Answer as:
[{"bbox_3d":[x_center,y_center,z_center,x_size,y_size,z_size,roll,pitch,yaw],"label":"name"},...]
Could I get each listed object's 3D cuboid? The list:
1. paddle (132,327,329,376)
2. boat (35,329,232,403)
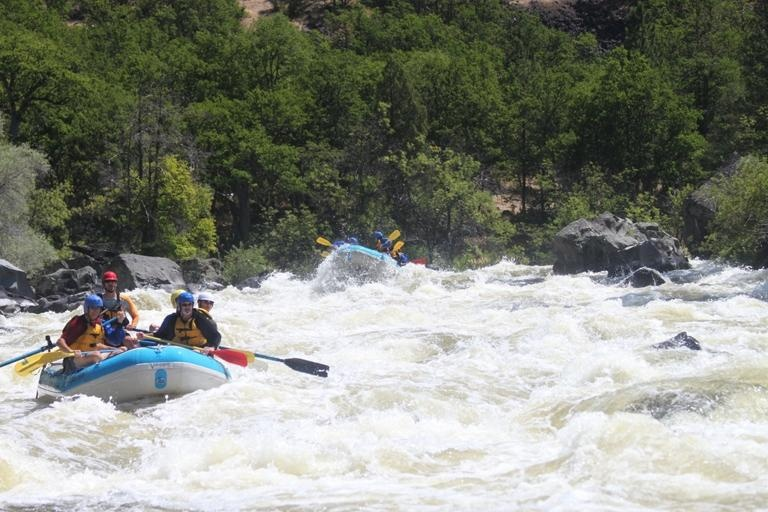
[{"bbox_3d":[-6.702,4.199,55.496,8.416,0.963,0.554,11,5,2],"label":"paddle"},{"bbox_3d":[-10.186,5.305,53.690,5.595,2.669,7.006,8,12,23],"label":"boat"}]
